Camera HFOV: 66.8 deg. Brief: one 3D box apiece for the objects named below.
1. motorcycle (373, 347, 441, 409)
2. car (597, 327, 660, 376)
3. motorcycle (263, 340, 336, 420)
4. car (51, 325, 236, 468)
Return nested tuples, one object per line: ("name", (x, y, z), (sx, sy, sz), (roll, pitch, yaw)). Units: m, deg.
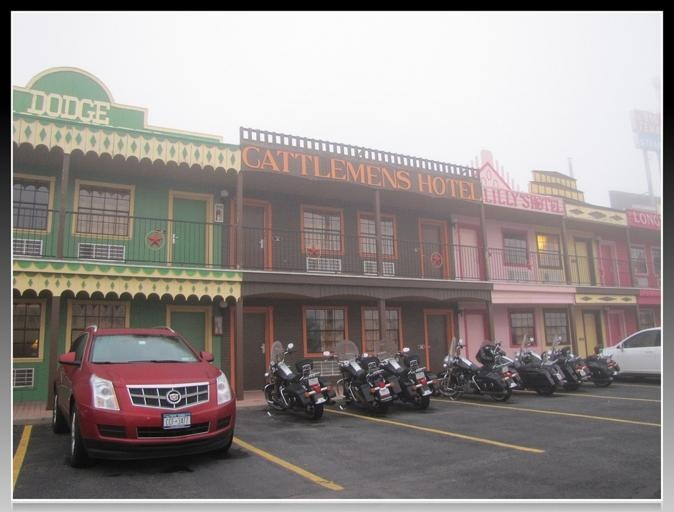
("motorcycle", (1.616, 2.871, 12.304), (0.848, 1.020, 1.789), (-1, -1, -10))
("car", (9.448, 3.047, 16.031), (2.463, 1.256, 1.586), (-5, -13, 36))
("motorcycle", (-1.070, 2.864, 11.670), (0.913, 1.563, 2.450), (-7, 0, -32))
("car", (-3.034, 1.993, 7.696), (2.766, 1.991, 1.831), (-9, -10, 39))
